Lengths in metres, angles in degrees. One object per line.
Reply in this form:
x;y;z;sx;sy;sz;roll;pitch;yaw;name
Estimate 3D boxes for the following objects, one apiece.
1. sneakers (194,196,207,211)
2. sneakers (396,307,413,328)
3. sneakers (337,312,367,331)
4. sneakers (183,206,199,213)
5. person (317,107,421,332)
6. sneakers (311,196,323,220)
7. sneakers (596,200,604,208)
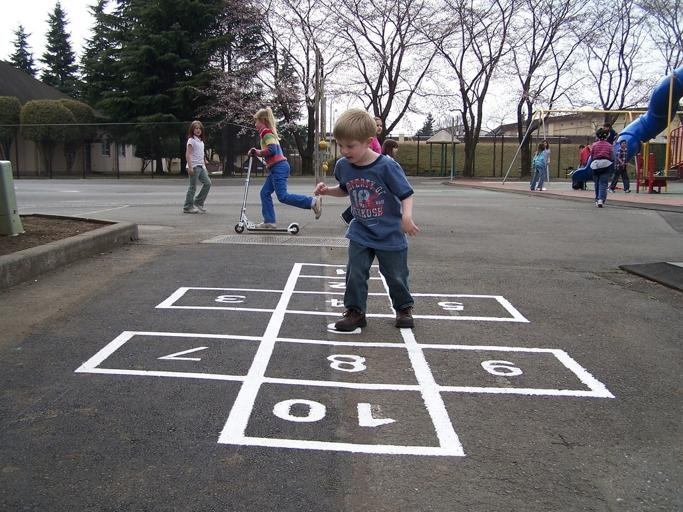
-3.220;-1.177;12.998;0.204;0.277;0.588;4;9;-23;sneakers
0.495;0.494;4.518;0.109;0.153;0.343;-1;-7;3;sneakers
0.066;0.516;4.418;0.097;0.148;0.271;-6;-10;38;sneakers
-3.389;-1.012;12.677;0.183;0.166;0.348;-2;0;-38;sneakers
0.233;-0.270;4.422;0.736;1.689;0.444;1;10;-2;person
-0.368;-0.675;8.301;0.172;0.434;0.147;-2;32;5;sneakers
7.165;-1.439;15.800;0.111;0.132;0.295;0;-1;6;sneakers
